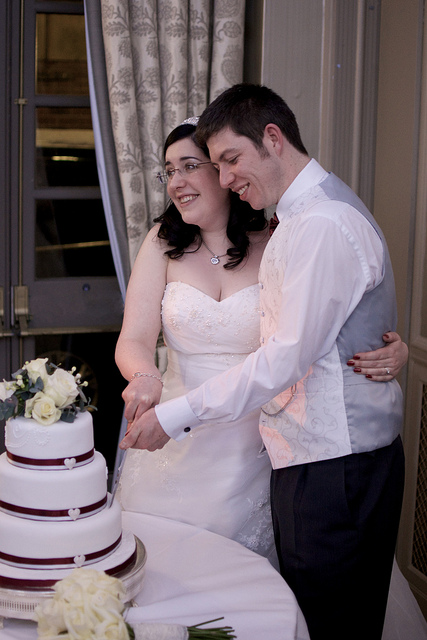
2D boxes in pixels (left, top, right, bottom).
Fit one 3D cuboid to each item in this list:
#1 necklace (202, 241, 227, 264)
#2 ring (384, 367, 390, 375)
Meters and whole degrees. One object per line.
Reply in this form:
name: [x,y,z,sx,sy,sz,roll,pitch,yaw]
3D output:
necklace: [0.006,-0.224,2.104,0.090,0.085,0.005,2,-10,8]
ring: [0.415,0.122,1.470,0.007,0.012,0.016,-22,4,8]
